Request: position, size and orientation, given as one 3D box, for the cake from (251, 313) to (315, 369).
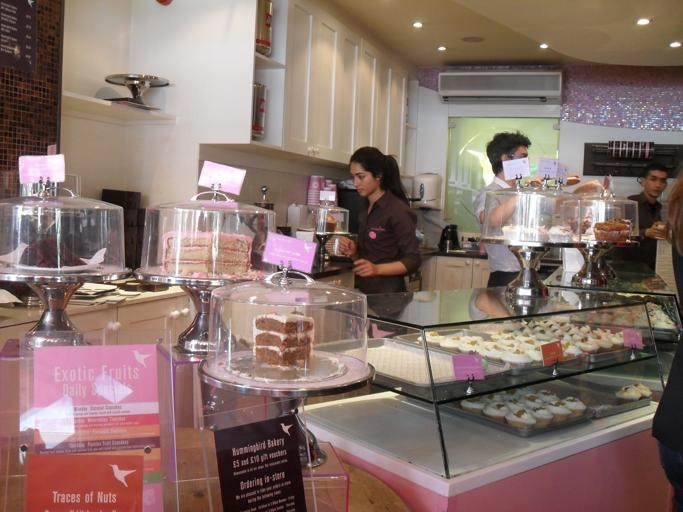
[{"bbox_3d":[-0.125,0.189,1.116,0.123,0.097,0.124,3,1,42],"label":"cake"}]
